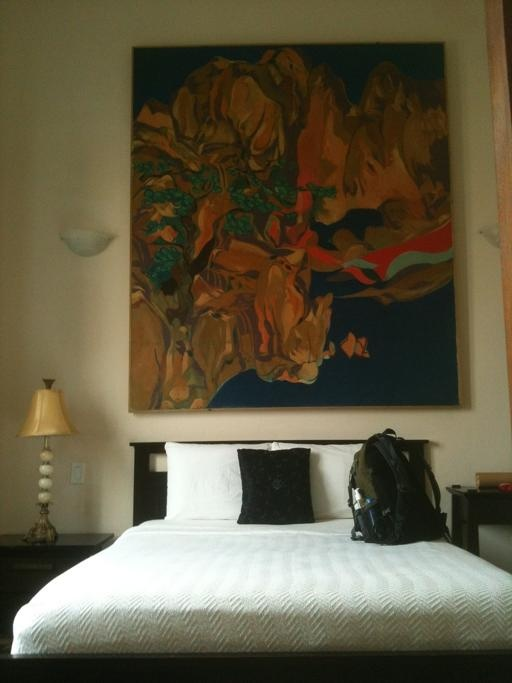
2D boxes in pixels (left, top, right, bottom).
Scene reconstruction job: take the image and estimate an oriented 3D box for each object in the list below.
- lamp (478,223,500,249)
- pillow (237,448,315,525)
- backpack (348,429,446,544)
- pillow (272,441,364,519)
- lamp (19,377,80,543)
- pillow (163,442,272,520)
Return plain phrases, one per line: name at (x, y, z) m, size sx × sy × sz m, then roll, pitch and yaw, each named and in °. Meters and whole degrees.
lamp at (1.170, -0.525, 3.361) m, size 0.093 × 0.125 × 0.074 m, roll -1°, pitch -6°, yaw 1°
pillow at (0.084, 0.625, 2.845) m, size 0.294 × 0.293 × 0.106 m, roll -2°, pitch -45°, yaw 0°
backpack at (0.556, 0.586, 2.650) m, size 0.220 × 0.309 × 0.274 m, roll 13°, pitch -52°, yaw -22°
pillow at (0.331, 0.619, 2.970) m, size 0.327 × 0.311 × 0.095 m, roll 3°, pitch -17°, yaw 2°
lamp at (-0.967, 0.549, 3.099) m, size 0.261 × 0.711 × 0.241 m, roll 4°, pitch -6°, yaw -38°
pillow at (-0.232, 0.660, 3.106) m, size 0.150 × 0.342 × 0.474 m, roll 22°, pitch -24°, yaw -36°
